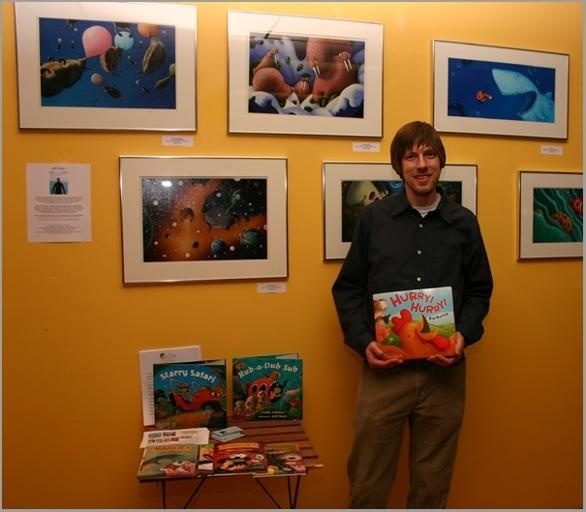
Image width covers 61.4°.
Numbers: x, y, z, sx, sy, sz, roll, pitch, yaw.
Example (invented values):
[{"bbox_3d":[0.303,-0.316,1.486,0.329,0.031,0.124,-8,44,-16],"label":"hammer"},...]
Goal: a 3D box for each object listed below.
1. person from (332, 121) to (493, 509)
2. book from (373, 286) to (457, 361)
[{"bbox_3d":[0.580,0.293,2.330,0.747,1.847,0.311,-3,4,-11],"label":"person"},{"bbox_3d":[0.547,0.313,2.225,0.308,0.270,0.043,-5,3,2],"label":"book"}]
